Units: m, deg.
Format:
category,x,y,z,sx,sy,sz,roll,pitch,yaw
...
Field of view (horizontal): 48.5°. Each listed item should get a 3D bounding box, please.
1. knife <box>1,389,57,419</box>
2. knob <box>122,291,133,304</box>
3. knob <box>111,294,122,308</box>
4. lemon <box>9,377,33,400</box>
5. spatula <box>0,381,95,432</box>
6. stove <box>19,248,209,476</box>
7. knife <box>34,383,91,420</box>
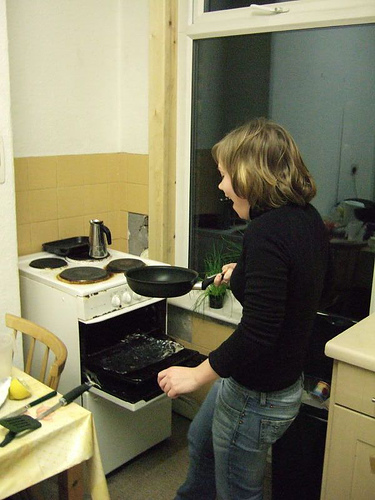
category,x,y,z,sx,sy,sz,roll,pitch,yaw
knife,-0.371,0.368,1.014,0.024,0.014,0.179,28,18,19
knob,-0.253,0.204,1.768,0.016,0.046,0.035,-7,-9,30
knob,-0.292,0.211,1.728,0.019,0.055,0.062,3,11,21
lemon,-0.421,0.349,1.063,0.048,0.033,0.049,43,-4,-19
spatula,-0.322,0.362,0.984,0.070,0.049,0.277,2,11,18
stove,-0.293,0.416,2.189,1.023,1.177,0.760,13,19,38
knife,-0.299,0.349,1.038,0.030,0.025,0.210,9,13,19
